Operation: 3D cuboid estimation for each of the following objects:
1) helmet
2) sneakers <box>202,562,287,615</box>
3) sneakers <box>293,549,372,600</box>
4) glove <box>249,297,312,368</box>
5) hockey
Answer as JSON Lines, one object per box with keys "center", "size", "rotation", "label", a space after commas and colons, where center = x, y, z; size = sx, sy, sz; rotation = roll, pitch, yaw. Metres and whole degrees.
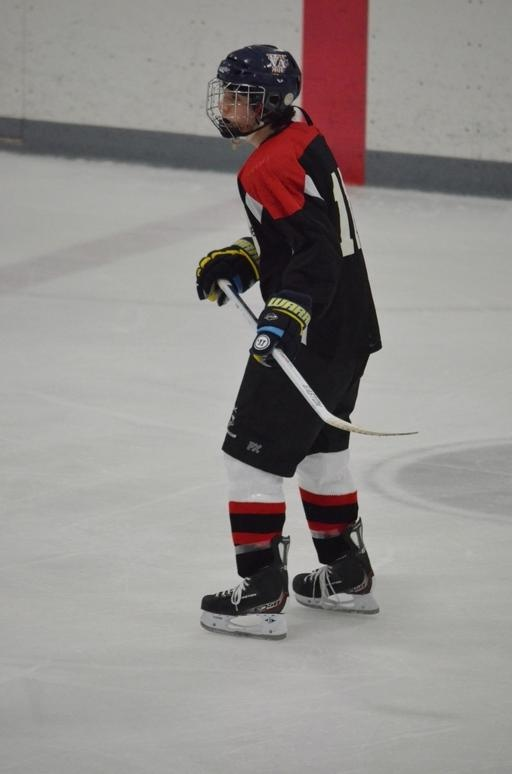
{"center": [-0.002, -0.558, 2.070], "size": [0.182, 0.147, 0.124], "rotation": [-6, 21, -19], "label": "helmet"}
{"center": [-0.017, 0.383, 2.059], "size": [0.221, 0.116, 0.076], "rotation": [-8, -9, 36], "label": "sneakers"}
{"center": [0.151, 0.378, 2.151], "size": [0.187, 0.093, 0.060], "rotation": [-12, 4, 28], "label": "sneakers"}
{"center": [0.037, -0.096, 1.919], "size": [0.051, 0.116, 0.087], "rotation": [12, 30, -46], "label": "glove"}
{"center": [0.069, -0.070, 2.007], "size": [0.194, 0.025, 0.556], "rotation": [15, 21, -35], "label": "hockey"}
